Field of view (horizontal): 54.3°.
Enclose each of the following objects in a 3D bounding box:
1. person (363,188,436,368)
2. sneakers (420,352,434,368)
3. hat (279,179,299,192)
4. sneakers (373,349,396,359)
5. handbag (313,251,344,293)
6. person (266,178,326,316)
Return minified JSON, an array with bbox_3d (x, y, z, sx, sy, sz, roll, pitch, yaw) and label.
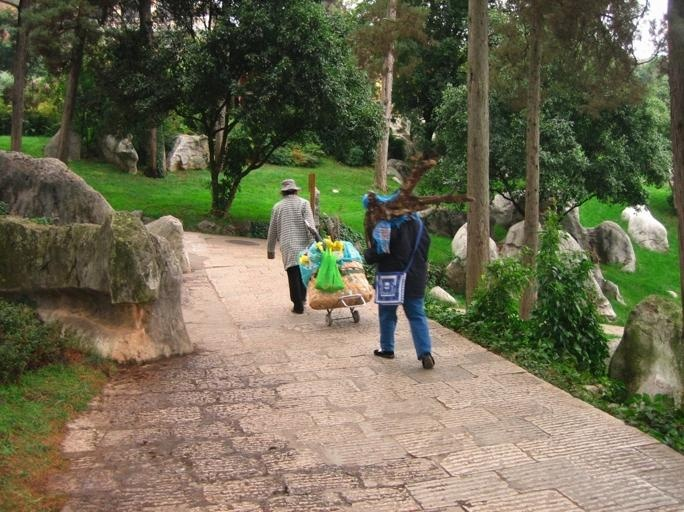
[{"bbox_3d":[0.775,0.289,8.933,0.989,2.398,0.530,2,12,8],"label":"person"},{"bbox_3d":[1.131,1.400,8.859,0.103,0.139,0.319,-1,-40,3],"label":"sneakers"},{"bbox_3d":[-0.939,-1.233,11.632,0.317,0.213,0.380,-3,-1,-7],"label":"hat"},{"bbox_3d":[0.576,1.377,9.366,0.112,0.123,0.283,-6,15,-44],"label":"sneakers"},{"bbox_3d":[-0.214,0.236,10.482,0.443,0.642,0.304,-1,12,-3],"label":"handbag"},{"bbox_3d":[-0.847,-0.159,11.456,0.869,2.267,0.827,-2,12,-7],"label":"person"}]
